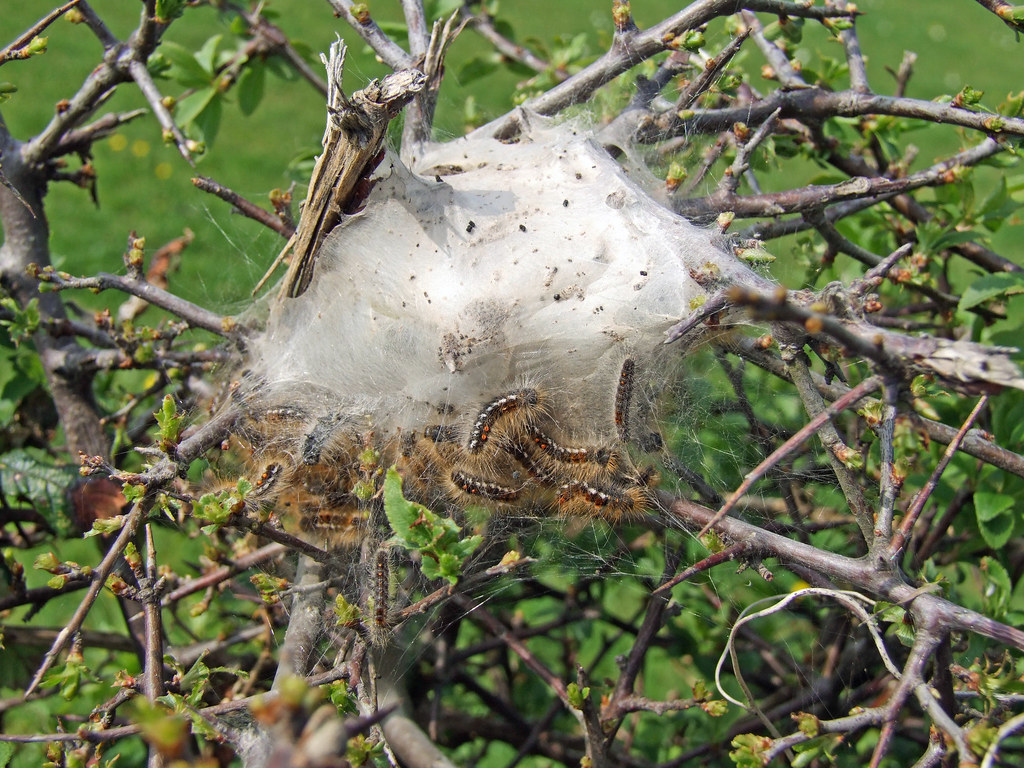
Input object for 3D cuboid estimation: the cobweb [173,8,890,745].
[{"bbox_3d":[0.043,-0.257,6.344,2.662,2.926,2.740,-6,102,-38],"label":"cobweb"}]
